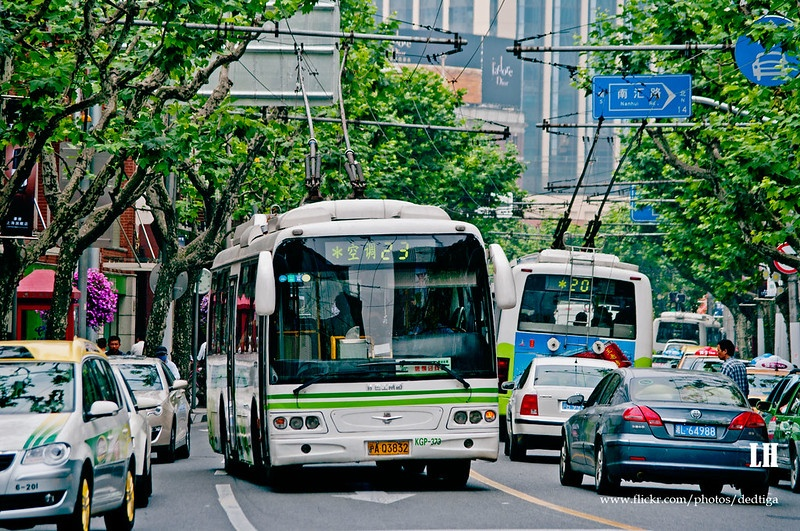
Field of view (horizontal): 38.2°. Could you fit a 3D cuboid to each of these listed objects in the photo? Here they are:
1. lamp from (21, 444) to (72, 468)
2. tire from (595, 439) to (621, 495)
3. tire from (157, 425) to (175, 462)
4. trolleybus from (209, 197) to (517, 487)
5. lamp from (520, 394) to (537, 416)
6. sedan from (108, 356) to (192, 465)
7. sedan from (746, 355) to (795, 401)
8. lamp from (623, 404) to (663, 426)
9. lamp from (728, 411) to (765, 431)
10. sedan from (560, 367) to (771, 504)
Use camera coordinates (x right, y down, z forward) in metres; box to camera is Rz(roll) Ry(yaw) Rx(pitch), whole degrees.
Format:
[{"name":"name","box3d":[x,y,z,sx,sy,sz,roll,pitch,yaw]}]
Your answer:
[{"name":"lamp","box3d":[-3.669,1.988,12.027,0.316,0.125,0.247,-12,-10,1]},{"name":"tire","box3d":[2.923,2.853,16.284,0.291,0.828,0.825,2,-4,-2]},{"name":"tire","box3d":[-4.312,3.279,21.288,0.267,0.743,0.753,0,-2,5]},{"name":"trolleybus","box3d":[-0.738,1.639,21.167,3.913,4.480,9.364,-1,-6,-6]},{"name":"lamp","box3d":[2.421,2.656,21.814,0.394,0.387,0.221,-1,-1,32]},{"name":"sedan","box3d":[-5.021,2.429,22.197,1.620,1.315,3.027,1,9,-10]},{"name":"sedan","box3d":[8.279,2.560,26.035,0.959,0.818,1.641,-1,2,6]},{"name":"lamp","box3d":[3.341,2.084,16.027,0.416,0.126,0.255,3,11,-12]},{"name":"lamp","box3d":[4.781,2.176,16.043,0.409,0.190,0.249,-1,-2,10]},{"name":"sedan","box3d":[3.609,2.418,16.534,2.983,1.624,1.622,1,0,41]}]
